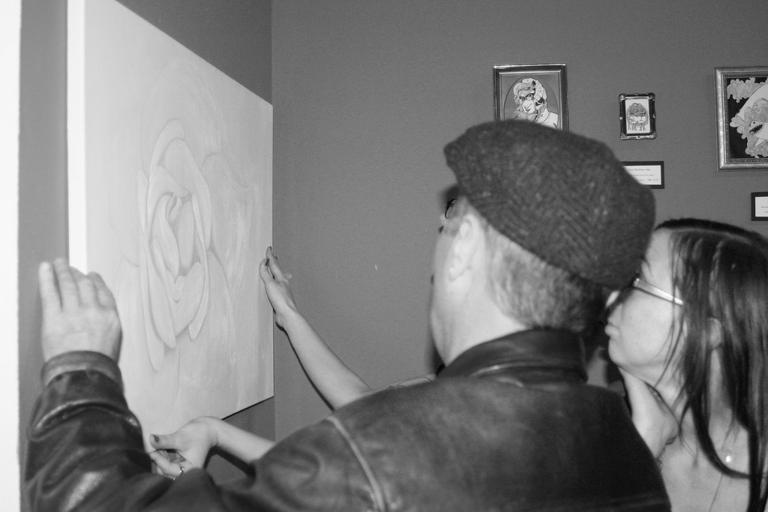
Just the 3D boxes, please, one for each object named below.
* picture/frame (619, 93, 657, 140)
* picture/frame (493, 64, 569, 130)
[{"bbox_3d":[0.883,-0.486,2.410,0.152,0.198,0.032,1,-2,3],"label":"picture/frame"},{"bbox_3d":[0.509,-0.545,2.434,0.221,0.264,0.026,2,-21,3],"label":"picture/frame"}]
